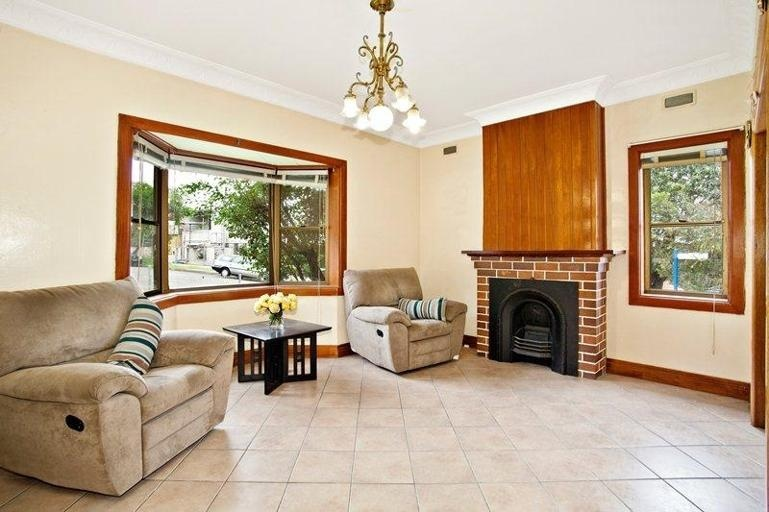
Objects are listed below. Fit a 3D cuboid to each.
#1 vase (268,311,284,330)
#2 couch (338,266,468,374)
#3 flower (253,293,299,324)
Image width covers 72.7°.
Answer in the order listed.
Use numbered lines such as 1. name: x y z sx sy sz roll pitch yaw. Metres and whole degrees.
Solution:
1. vase: -1.192 0.705 5.719 0.164 0.187 0.172 0 -6 1
2. couch: 0.236 0.762 6.661 1.262 1.100 1.264 -5 6 -41
3. flower: -1.184 0.538 5.867 0.420 0.353 0.422 2 3 15
